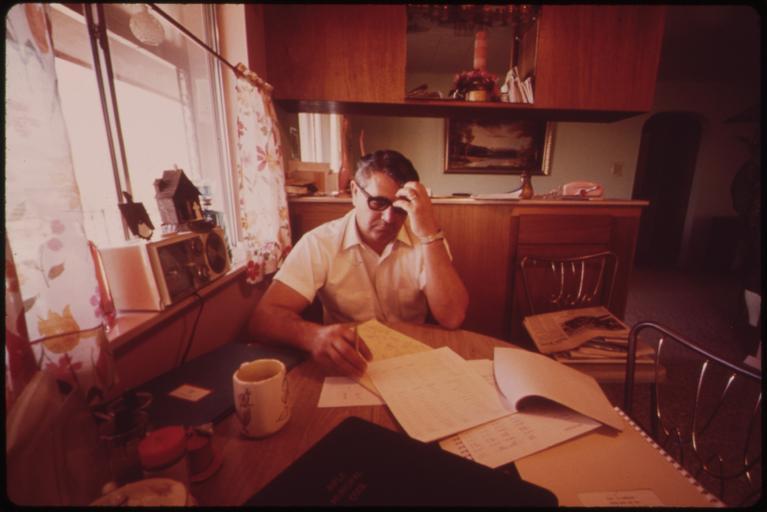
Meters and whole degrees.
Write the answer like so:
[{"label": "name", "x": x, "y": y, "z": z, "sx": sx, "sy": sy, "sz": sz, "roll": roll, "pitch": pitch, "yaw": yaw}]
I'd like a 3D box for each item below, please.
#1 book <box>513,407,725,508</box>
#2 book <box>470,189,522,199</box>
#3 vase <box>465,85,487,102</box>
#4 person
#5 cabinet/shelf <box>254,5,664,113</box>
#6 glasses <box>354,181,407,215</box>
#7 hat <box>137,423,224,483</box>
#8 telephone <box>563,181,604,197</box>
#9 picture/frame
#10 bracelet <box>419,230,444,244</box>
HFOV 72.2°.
[{"label": "book", "x": 0.764, "y": 0.693, "z": 1.763, "sx": 0.633, "sy": 0.228, "sz": 0.275, "roll": -3, "pitch": 13, "yaw": -9}, {"label": "book", "x": 0.741, "y": -0.399, "z": 3.432, "sx": 0.285, "sy": 0.053, "sz": 0.255, "roll": 3, "pitch": 13, "yaw": 20}, {"label": "vase", "x": 0.598, "y": -1.038, "z": 3.371, "sx": 0.099, "sy": 0.061, "sz": 0.099, "roll": 4, "pitch": 17, "yaw": 16}, {"label": "person", "x": -0.118, "y": 0.249, "z": 2.753, "sx": 1.044, "sy": 1.458, "sz": 0.835, "roll": -9, "pitch": 34, "yaw": -15}, {"label": "cabinet/shelf", "x": 0.513, "y": -1.219, "z": 3.284, "sx": 2.545, "sy": 0.662, "sz": 0.206, "roll": -3, "pitch": 13, "yaw": -8}, {"label": "glasses", "x": -0.023, "y": -0.282, "z": 2.565, "sx": 0.258, "sy": 0.154, "sz": 0.108, "roll": 1, "pitch": 13, "yaw": 10}, {"label": "hat", "x": -0.664, "y": 0.644, "z": 1.730, "sx": 0.221, "sy": 0.109, "sz": 0.195, "roll": 2, "pitch": 15, "yaw": 16}, {"label": "telephone", "x": 1.358, "y": -0.452, "z": 3.658, "sx": 0.154, "sy": 0.082, "sz": 0.208, "roll": 1, "pitch": 4, "yaw": 6}, {"label": "picture/frame", "x": 1.135, "y": -1.112, "z": 5.273, "sx": 1.007, "sy": 0.694, "sz": 0.050, "roll": -1, "pitch": 31, "yaw": -1}, {"label": "bracelet", "x": 0.241, "y": -0.102, "z": 2.609, "sx": 0.076, "sy": 0.071, "sz": 0.075, "roll": -4, "pitch": 14, "yaw": 27}]
